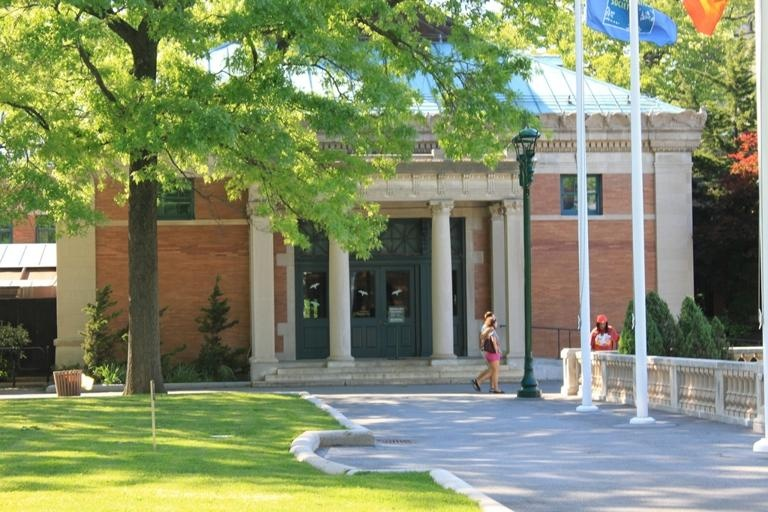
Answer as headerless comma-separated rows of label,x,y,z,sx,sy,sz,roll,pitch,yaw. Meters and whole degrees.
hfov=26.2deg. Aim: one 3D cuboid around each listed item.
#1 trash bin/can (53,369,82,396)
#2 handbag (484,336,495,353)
trash bin/can,-9.986,4.003,52.078,0.832,0.819,0.896,0,-7,-13
handbag,3.384,2.773,52.317,0.469,0.599,0.300,0,-11,-4
